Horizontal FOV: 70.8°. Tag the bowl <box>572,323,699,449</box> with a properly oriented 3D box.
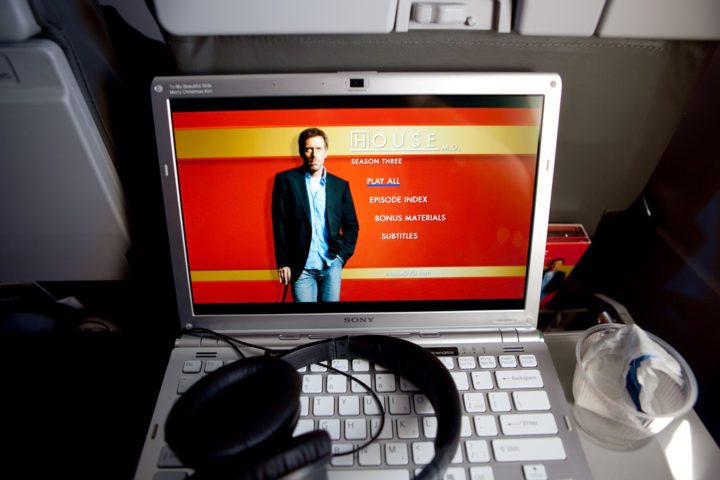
[{"bbox_3d":[0.429,0.250,0.836,0.174,0.127,0.174,10,34,-7],"label":"bowl"}]
